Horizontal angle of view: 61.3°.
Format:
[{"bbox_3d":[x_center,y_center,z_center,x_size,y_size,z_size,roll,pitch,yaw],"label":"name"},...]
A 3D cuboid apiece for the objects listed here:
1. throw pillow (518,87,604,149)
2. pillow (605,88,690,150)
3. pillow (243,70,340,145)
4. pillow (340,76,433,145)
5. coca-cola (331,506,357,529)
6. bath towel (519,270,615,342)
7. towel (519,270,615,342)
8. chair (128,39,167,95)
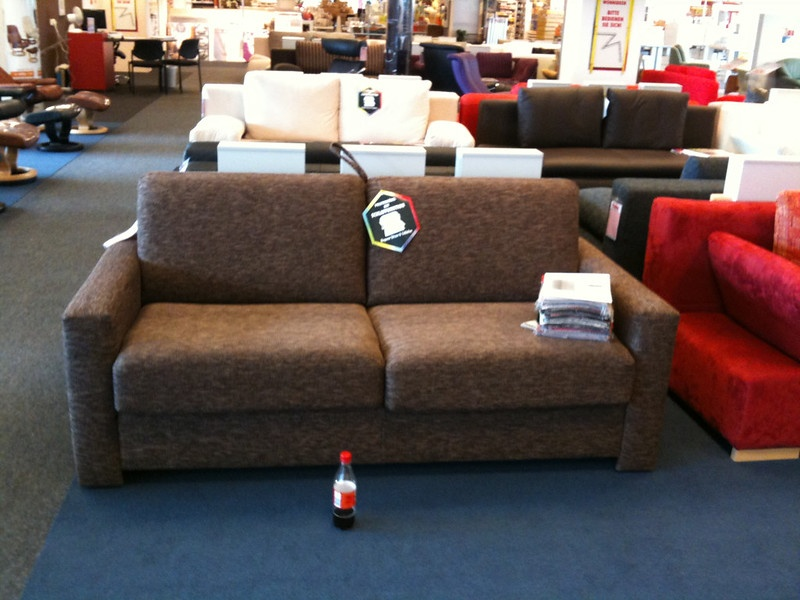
[{"bbox_3d":[1.349,-1.575,5.986,0.928,0.575,0.315,-4,3,-18],"label":"throw pillow"},{"bbox_3d":[2.185,-1.575,6.134,0.872,0.548,0.304,-2,-7,-18],"label":"pillow"},{"bbox_3d":[-0.898,-1.518,5.727,0.930,0.601,0.656,2,12,-2],"label":"pillow"},{"bbox_3d":[-0.159,-1.563,5.622,0.854,0.554,0.292,9,36,23],"label":"pillow"},{"bbox_3d":[-0.222,0.842,2.655,0.082,0.072,0.080,1,14,-2],"label":"coca-cola"},{"bbox_3d":[0.711,0.029,2.857,0.322,0.309,0.114,3,-20,5],"label":"bath towel"},{"bbox_3d":[0.705,0.035,2.858,0.322,0.309,0.114,3,-20,5],"label":"towel"},{"bbox_3d":[-4.676,-4.316,12.421,0.738,0.952,0.765,4,27,-8],"label":"chair"}]
